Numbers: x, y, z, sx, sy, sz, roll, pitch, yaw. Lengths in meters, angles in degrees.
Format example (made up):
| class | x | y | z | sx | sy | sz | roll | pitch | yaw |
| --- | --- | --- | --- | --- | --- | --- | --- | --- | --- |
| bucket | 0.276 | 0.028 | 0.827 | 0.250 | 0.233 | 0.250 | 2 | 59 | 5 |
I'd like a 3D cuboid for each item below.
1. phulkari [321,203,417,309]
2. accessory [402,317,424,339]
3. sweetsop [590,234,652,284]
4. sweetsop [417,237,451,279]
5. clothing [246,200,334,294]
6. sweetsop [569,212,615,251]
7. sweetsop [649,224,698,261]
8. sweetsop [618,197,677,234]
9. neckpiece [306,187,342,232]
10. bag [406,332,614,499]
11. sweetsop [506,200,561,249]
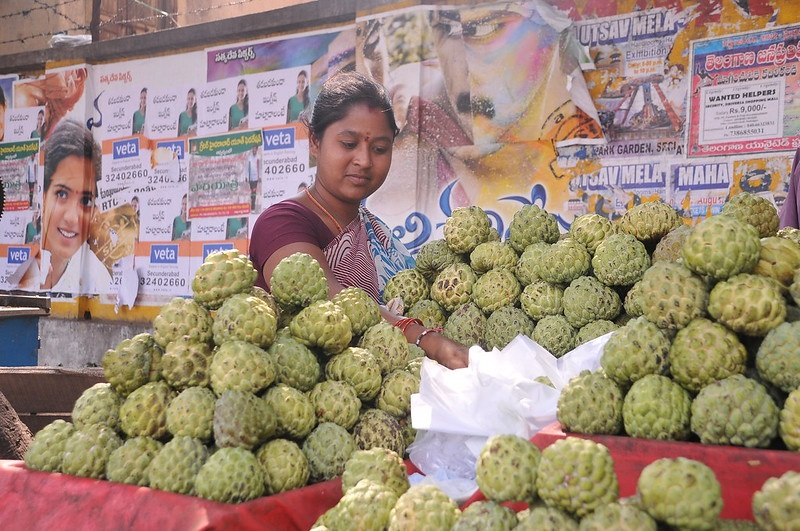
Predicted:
| class | x | y | z | sx | sy | sz | roll | pitch | yaw |
| --- | --- | --- | --- | --- | --- | --- | --- | --- | --- |
| phulkari | -0.234 | -0.069 | 5.218 | 0.310 | 0.716 | 0.549 | -31 | -32 | 22 |
| accessory | 0.060 | 0.350 | 4.295 | 0.089 | 0.058 | 0.120 | 5 | 8 | -23 |
| sweetsop | 1.201 | -0.024 | 4.184 | 0.269 | 0.253 | 0.250 | -22 | 18 | 36 |
| sweetsop | 0.190 | -0.066 | 4.694 | 0.215 | 0.194 | 0.202 | -21 | 10 | 0 |
| clothing | -0.635 | -0.104 | 4.465 | 0.271 | 0.377 | 0.529 | -17 | -8 | 19 |
| sweetsop | 1.080 | -0.197 | 4.355 | 0.219 | 0.195 | 0.205 | 2 | -30 | -2 |
| sweetsop | 1.464 | -0.139 | 4.071 | 0.211 | 0.173 | 0.173 | -44 | -33 | -11 |
| sweetsop | 1.395 | -0.262 | 4.258 | 0.215 | 0.160 | 0.197 | -17 | 1 | -23 |
| neckpiece | -0.537 | -0.395 | 5.316 | 0.066 | 0.323 | 0.248 | -36 | -9 | 23 |
| bag | 0.471 | 0.649 | 3.743 | 0.819 | 0.425 | 0.805 | -36 | 33 | 16 |
| sweetsop | 0.785 | -0.251 | 4.531 | 0.258 | 0.282 | 0.235 | -3 | 9 | -10 |
